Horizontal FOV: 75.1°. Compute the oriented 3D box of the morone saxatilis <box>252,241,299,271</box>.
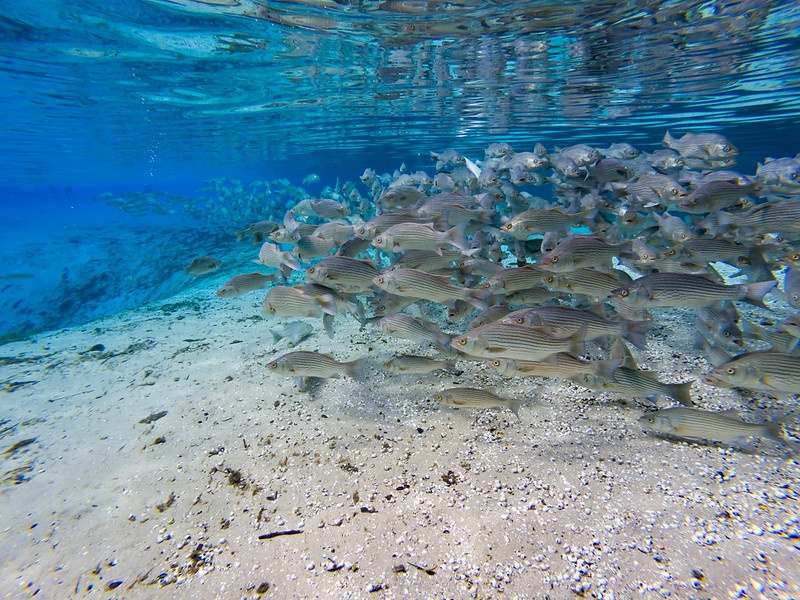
[{"bbox_3d":[-2.376,-0.800,10.202,1.083,0.560,0.368,19,38,38],"label":"morone saxatilis"}]

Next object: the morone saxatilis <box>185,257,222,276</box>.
[{"bbox_3d":[-4.521,-0.780,11.908,0.820,0.557,0.590,-8,28,-10],"label":"morone saxatilis"}]
